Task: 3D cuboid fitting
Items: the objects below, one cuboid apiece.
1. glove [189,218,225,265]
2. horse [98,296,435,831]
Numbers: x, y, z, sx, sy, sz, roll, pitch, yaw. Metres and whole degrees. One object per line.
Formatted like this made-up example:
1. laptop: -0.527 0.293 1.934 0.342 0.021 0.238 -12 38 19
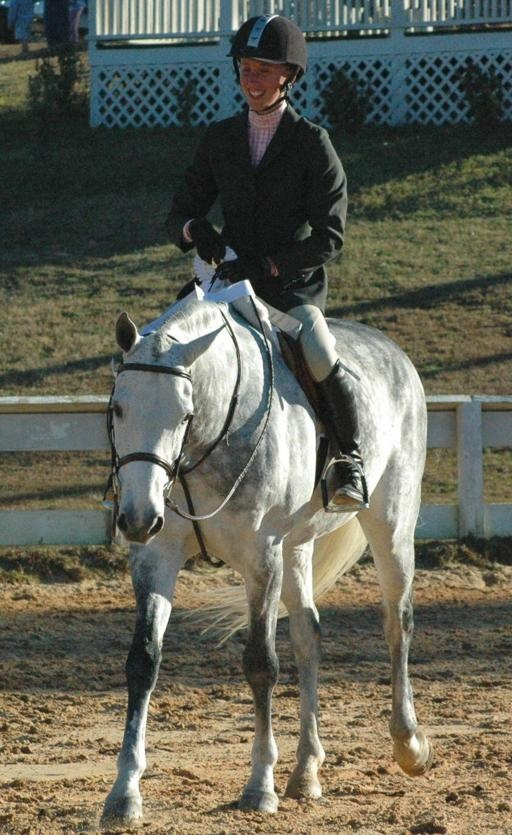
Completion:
1. glove: -0.344 -1.308 14.612 0.292 0.302 0.248 5 13 16
2. horse: 0.205 1.001 15.067 1.070 3.943 4.075 3 -1 34
